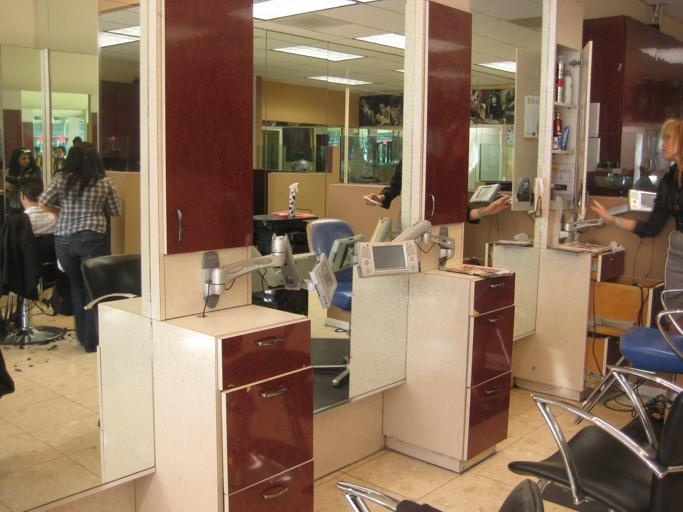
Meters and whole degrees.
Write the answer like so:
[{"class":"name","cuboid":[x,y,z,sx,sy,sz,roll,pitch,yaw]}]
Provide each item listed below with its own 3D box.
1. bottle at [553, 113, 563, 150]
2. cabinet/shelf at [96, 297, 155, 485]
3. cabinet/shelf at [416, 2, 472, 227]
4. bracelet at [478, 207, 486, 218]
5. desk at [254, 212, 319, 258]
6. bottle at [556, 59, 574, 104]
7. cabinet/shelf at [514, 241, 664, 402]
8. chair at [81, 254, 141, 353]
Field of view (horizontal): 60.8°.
[{"class":"bottle","cuboid":[1.690,-0.985,4.542,0.071,0.289,0.226,5,13,21]},{"class":"cabinet/shelf","cuboid":[-0.935,0.621,2.596,0.276,0.783,0.187,-1,11,-11]},{"class":"cabinet/shelf","cuboid":[0.640,-0.850,3.535,0.130,1.293,0.461,10,15,39]},{"class":"bracelet","cuboid":[1.086,-0.333,4.483,0.047,0.088,0.061,3,12,13]},{"class":"desk","cuboid":[-0.410,-0.119,3.767,0.502,0.227,0.444,-1,8,41]},{"class":"bottle","cuboid":[1.730,-1.360,4.508,0.094,0.322,0.255,8,14,34]},{"class":"cabinet/shelf","cuboid":[1.924,0.525,4.636,0.864,1.144,0.994,-8,11,-41]},{"class":"chair","cuboid":[-0.942,0.222,2.523,0.302,0.378,0.317,-8,-7,-16]}]
